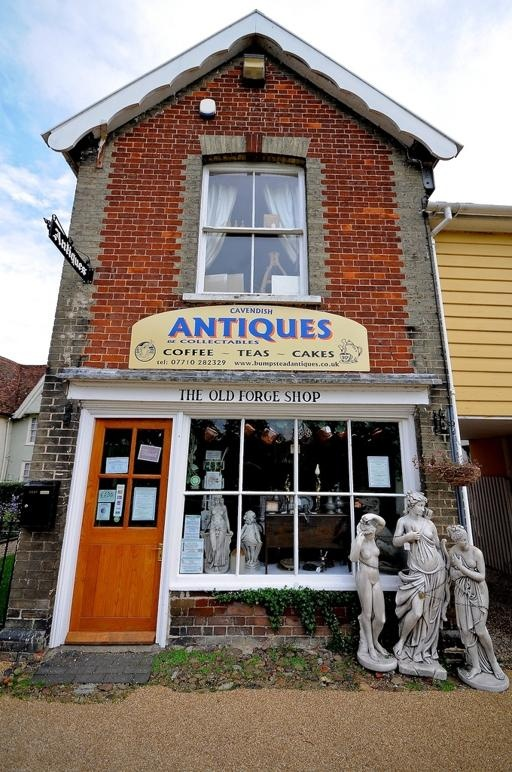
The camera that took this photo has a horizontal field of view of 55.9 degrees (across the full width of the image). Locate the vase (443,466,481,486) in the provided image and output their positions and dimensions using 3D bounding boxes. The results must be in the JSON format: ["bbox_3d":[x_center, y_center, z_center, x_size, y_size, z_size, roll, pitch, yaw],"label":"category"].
[{"bbox_3d":[1.923,0.831,4.588,0.228,0.125,0.243,6,-17,-22],"label":"vase"}]

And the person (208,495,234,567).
[{"bbox_3d":[-0.376,1.520,4.979,0.241,0.727,0.151,0,1,-6],"label":"person"}]

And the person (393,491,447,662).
[{"bbox_3d":[1.493,1.719,4.393,0.461,1.453,0.642,1,1,22],"label":"person"}]

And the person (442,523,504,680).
[{"bbox_3d":[1.870,1.874,4.191,0.340,1.179,0.613,0,1,-13],"label":"person"}]

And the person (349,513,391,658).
[{"bbox_3d":[1.021,1.786,4.368,0.335,1.233,0.333,0,1,12],"label":"person"}]
